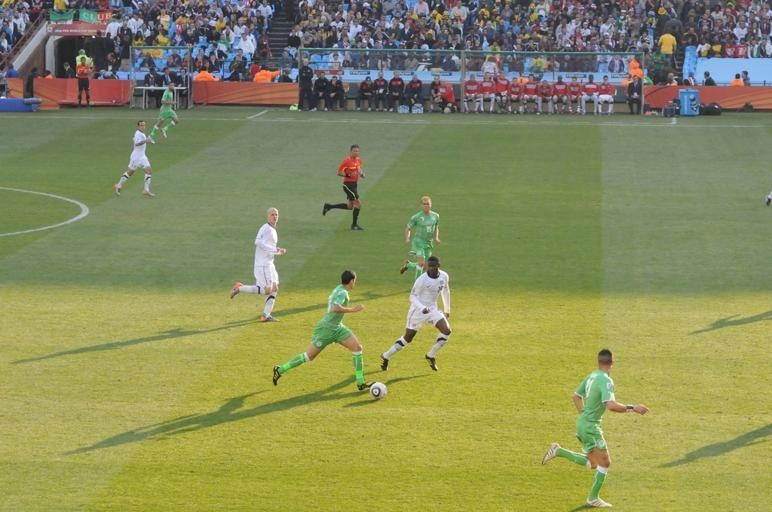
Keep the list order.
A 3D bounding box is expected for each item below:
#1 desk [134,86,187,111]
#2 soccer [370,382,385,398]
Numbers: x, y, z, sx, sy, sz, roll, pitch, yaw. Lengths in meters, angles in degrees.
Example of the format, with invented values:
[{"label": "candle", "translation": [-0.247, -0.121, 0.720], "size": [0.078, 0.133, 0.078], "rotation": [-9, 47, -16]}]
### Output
[{"label": "desk", "translation": [-11.292, -7.971, 84.423], "size": [2.458, 0.896, 1.134], "rotation": [2, 16, 2]}, {"label": "soccer", "translation": [-0.235, 4.281, 53.824], "size": [0.387, 0.354, 0.363], "rotation": [26, 21, 12]}]
